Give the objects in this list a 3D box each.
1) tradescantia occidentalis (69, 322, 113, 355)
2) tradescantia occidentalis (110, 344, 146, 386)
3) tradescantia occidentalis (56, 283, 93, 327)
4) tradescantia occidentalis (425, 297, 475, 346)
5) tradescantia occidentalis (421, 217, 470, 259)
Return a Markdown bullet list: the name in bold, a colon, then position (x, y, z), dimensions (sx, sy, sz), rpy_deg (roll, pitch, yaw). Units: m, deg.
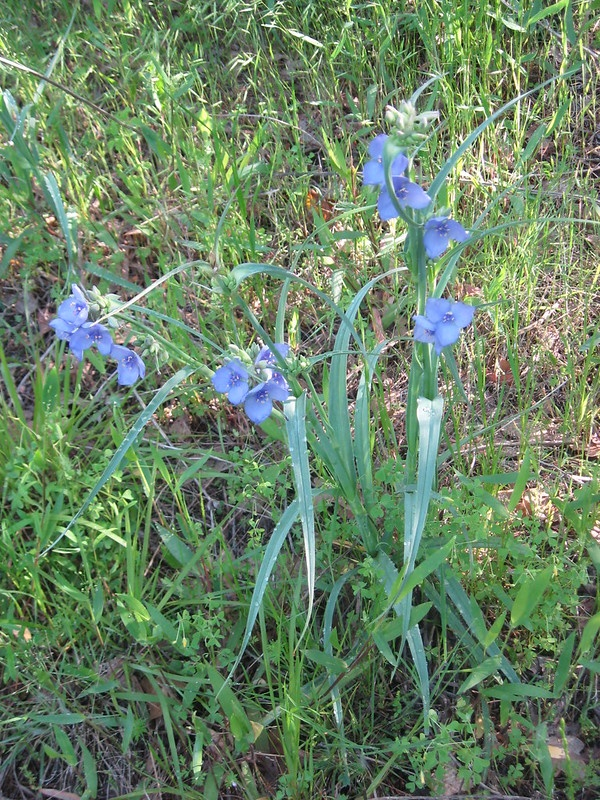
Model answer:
- **tradescantia occidentalis**: position (-0.504, -0.145, 1.605), dimensions (0.084, 0.076, 0.072), rpy_deg (-45, 26, 13)
- **tradescantia occidentalis**: position (-0.430, -0.084, 1.687), dimensions (0.095, 0.126, 0.060), rpy_deg (-2, 15, 19)
- **tradescantia occidentalis**: position (-0.530, -0.215, 1.573), dimensions (0.084, 0.046, 0.108), rpy_deg (10, 93, 25)
- **tradescantia occidentalis**: position (0.328, -0.163, 1.483), dimensions (0.084, 0.046, 0.116), rpy_deg (11, 62, 6)
- **tradescantia occidentalis**: position (0.313, -0.342, 1.399), dimensions (0.095, 0.106, 0.048), rpy_deg (-12, 47, 0)
